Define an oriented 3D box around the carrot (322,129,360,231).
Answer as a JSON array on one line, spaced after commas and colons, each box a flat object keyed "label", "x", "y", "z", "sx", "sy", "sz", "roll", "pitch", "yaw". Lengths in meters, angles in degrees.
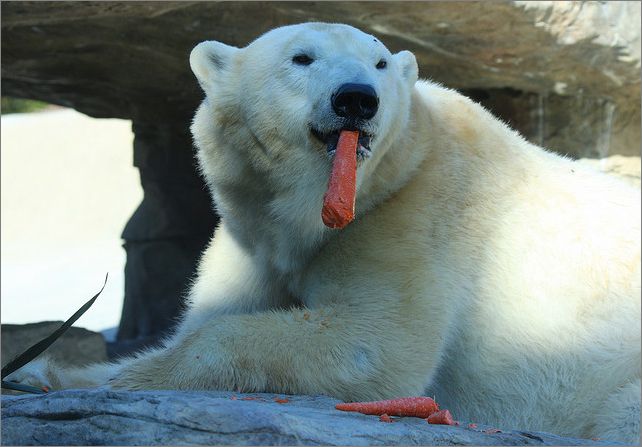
[{"label": "carrot", "x": 0.141, "y": -0.317, "z": 7.943, "sx": 0.188, "sy": 0.682, "sz": 0.177, "roll": 4, "pitch": -29, "yaw": 5}]
